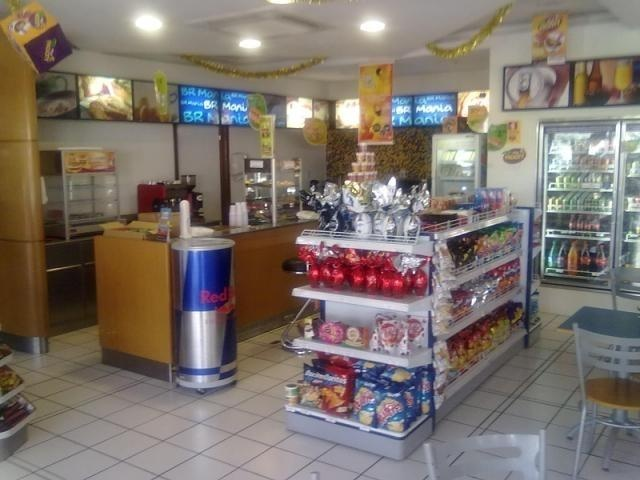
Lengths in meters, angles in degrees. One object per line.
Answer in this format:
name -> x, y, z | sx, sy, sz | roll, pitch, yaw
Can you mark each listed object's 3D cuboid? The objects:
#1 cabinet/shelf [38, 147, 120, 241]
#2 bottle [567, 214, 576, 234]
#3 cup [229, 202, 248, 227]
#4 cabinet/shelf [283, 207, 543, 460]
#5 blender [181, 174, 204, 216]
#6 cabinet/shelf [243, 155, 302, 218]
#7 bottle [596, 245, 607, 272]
cabinet/shelf -> -3.366, -0.658, 6.746 | 0.634, 1.103, 0.865 | 5, 11, 28
bottle -> 3.641, -0.227, 6.924 | 0.095, 0.241, 0.286 | 1, 4, 21
cup -> -1.059, -0.323, 6.251 | 0.292, 0.398, 0.286 | 1, 3, 0
cabinet/shelf -> 1.197, 0.606, 5.046 | 1.400, 1.818, 3.469 | 6, 11, 43
blender -> -2.147, -0.713, 8.042 | 0.301, 0.701, 0.479 | -4, 12, -17
cabinet/shelf -> -0.833, -0.819, 8.303 | 0.937, 1.238, 0.919 | -4, 9, -19
bottle -> 3.996, 0.252, 6.792 | 0.109, 0.350, 0.156 | -10, 14, -37
